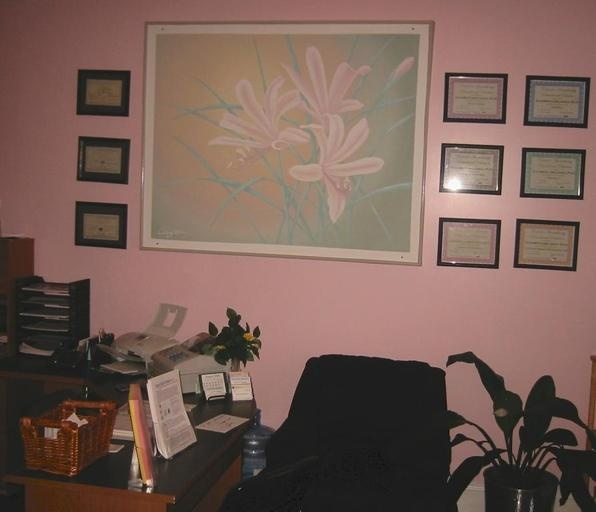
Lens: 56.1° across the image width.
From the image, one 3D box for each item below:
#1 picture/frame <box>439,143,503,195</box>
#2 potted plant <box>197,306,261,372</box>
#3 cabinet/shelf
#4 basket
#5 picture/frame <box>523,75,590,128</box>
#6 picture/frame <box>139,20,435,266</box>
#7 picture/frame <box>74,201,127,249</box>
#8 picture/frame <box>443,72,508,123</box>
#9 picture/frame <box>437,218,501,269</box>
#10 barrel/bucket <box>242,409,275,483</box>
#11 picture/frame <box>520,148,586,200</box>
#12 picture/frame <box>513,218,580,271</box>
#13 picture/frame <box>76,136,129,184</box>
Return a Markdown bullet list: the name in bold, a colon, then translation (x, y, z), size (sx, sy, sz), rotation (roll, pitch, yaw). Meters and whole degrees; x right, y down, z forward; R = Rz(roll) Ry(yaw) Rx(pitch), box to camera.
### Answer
- **picture/frame**: translation (1.034, -0.519, 3.304), size (0.262, 0.251, 0.021), rotation (1, 3, 4)
- **potted plant**: translation (-0.372, 0.483, 3.162), size (0.314, 0.255, 0.346), rotation (6, 11, 17)
- **cabinet/shelf**: translation (-1.517, 0.368, 3.387), size (0.294, 0.428, 0.221), rotation (3, 0, -15)
- **basket**: translation (-0.952, 0.706, 2.364), size (0.264, 0.244, 0.395), rotation (1, -3, 7)
- **picture/frame**: translation (1.516, -0.902, 3.255), size (0.262, 0.249, 0.020), rotation (1, 4, 5)
- **picture/frame**: translation (0.005, -0.723, 3.381), size (1.296, 1.187, 0.030), rotation (2, 4, 12)
- **picture/frame**: translation (-1.245, -0.184, 3.550), size (0.288, 0.272, 0.024), rotation (3, 32, -19)
- **picture/frame**: translation (1.052, -0.930, 3.285), size (0.258, 0.244, 0.020), rotation (1, 5, -2)
- **picture/frame**: translation (1.027, -0.079, 3.317), size (0.260, 0.254, 0.020), rotation (1, 2, 2)
- **barrel/bucket**: translation (-0.217, 1.126, 3.381), size (0.178, 0.351, 0.192), rotation (-6, -7, -1)
- **picture/frame**: translation (1.503, -0.484, 3.274), size (0.262, 0.260, 0.022), rotation (1, 2, 3)
- **picture/frame**: translation (1.469, -0.069, 3.285), size (0.252, 0.247, 0.019), rotation (4, 0, 0)
- **picture/frame**: translation (-1.212, -0.607, 3.518), size (0.257, 0.256, 0.029), rotation (2, 8, 6)
